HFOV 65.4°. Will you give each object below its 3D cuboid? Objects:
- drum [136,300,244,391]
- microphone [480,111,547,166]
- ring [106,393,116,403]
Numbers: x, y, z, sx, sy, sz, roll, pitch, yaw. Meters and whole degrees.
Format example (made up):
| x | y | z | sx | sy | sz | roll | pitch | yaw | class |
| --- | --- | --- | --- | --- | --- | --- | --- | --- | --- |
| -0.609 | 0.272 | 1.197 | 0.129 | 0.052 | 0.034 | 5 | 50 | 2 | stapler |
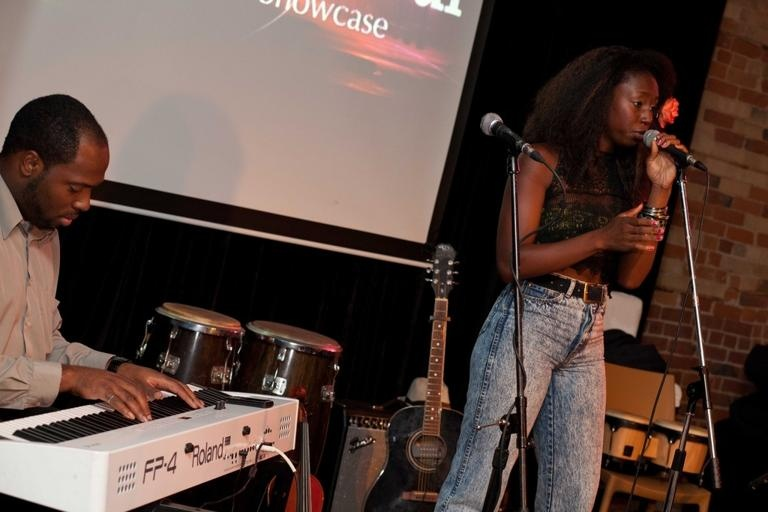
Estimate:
| x | y | z | sx | sy | sz | roll | pitch | yaw | class |
| --- | --- | --- | --- | --- | --- | --- | --- | --- | --- |
| -0.994 | 0.419 | 3.277 | 0.445 | 0.461 | 0.491 | 23 | 2 | 8 | drum |
| 0.453 | -0.473 | 2.352 | 0.119 | 0.105 | 0.392 | 47 | -3 | -39 | microphone |
| -0.895 | 0.472 | 1.973 | 0.025 | 0.019 | 0.025 | 4 | -13 | 1 | ring |
